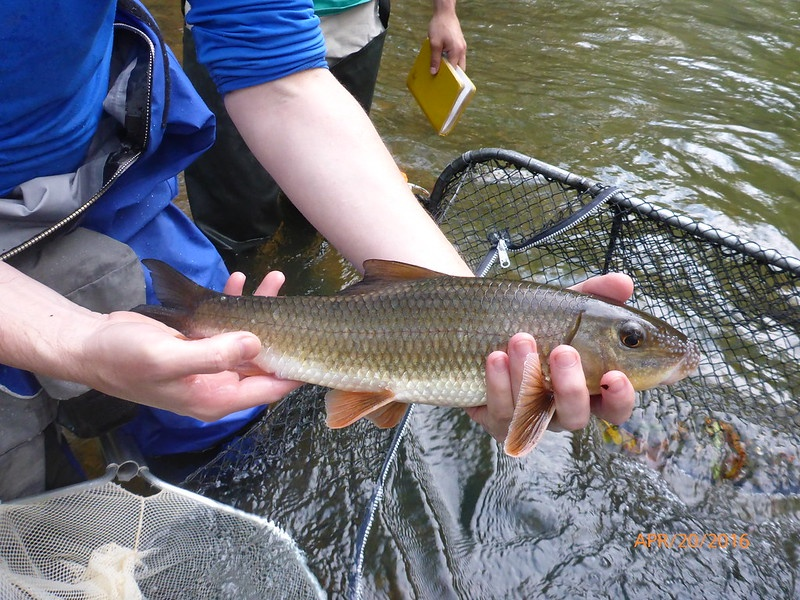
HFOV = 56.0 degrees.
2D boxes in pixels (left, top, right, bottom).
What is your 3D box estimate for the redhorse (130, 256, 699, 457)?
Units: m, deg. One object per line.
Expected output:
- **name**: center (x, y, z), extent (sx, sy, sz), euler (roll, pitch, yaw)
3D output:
- **redhorse**: center (0.096, 0.249, 3.906), extent (2.812, 0.730, 0.937), euler (2, -68, 1)
